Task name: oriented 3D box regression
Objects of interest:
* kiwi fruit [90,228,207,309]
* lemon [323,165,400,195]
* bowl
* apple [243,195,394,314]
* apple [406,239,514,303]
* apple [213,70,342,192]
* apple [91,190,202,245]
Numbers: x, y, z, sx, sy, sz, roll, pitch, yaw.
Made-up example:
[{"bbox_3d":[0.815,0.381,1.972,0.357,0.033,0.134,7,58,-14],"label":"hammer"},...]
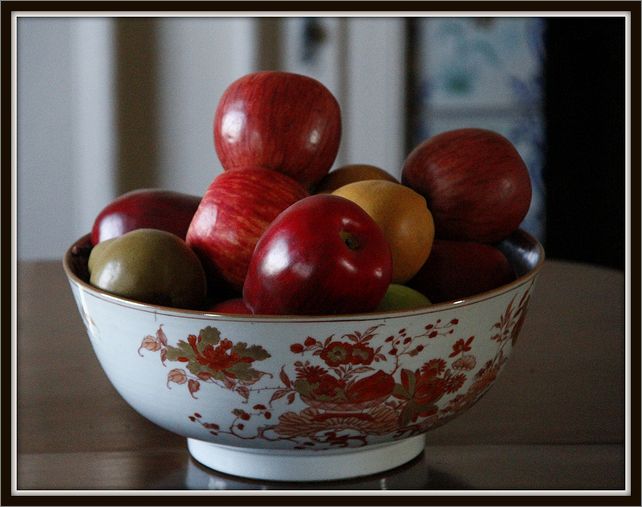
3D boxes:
[{"bbox_3d":[-0.142,0.027,0.621,0.080,0.063,0.065,12,51,19],"label":"kiwi fruit"},{"bbox_3d":[0.040,-0.078,0.687,0.051,0.036,0.055,8,11,36],"label":"lemon"},{"bbox_3d":[-0.025,0.077,0.612,0.428,0.172,0.240,5,18,5],"label":"bowl"},{"bbox_3d":[0.006,-0.003,0.555,0.084,0.082,0.110,-5,16,-29],"label":"apple"},{"bbox_3d":[0.124,0.003,0.640,0.065,0.052,0.089,10,14,23],"label":"apple"},{"bbox_3d":[-0.037,-0.108,0.683,0.106,0.109,0.111,0,-17,-1],"label":"apple"},{"bbox_3d":[-0.164,-0.050,0.693,0.090,0.056,0.072,11,17,29],"label":"apple"}]
